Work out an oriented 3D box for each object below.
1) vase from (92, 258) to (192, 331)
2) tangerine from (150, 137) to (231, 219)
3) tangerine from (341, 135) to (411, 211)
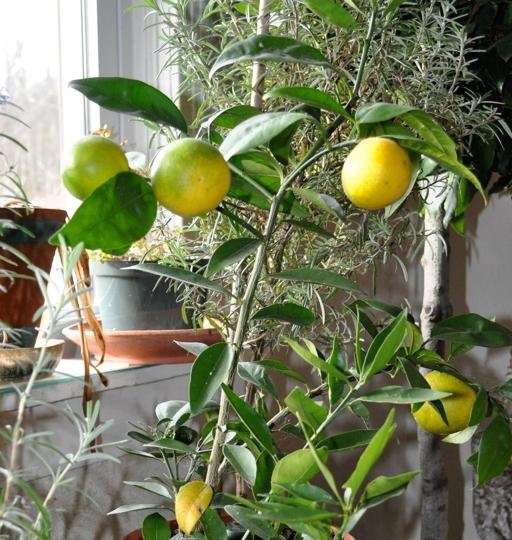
[{"bbox_3d":[-0.190,0.044,0.954,0.171,0.092,0.165,0,-4,26],"label":"vase"},{"bbox_3d":[-0.054,-0.072,0.424,0.058,0.050,0.051,-12,21,-24],"label":"tangerine"},{"bbox_3d":[0.090,-0.074,0.420,0.052,0.052,0.043,4,-18,8],"label":"tangerine"}]
